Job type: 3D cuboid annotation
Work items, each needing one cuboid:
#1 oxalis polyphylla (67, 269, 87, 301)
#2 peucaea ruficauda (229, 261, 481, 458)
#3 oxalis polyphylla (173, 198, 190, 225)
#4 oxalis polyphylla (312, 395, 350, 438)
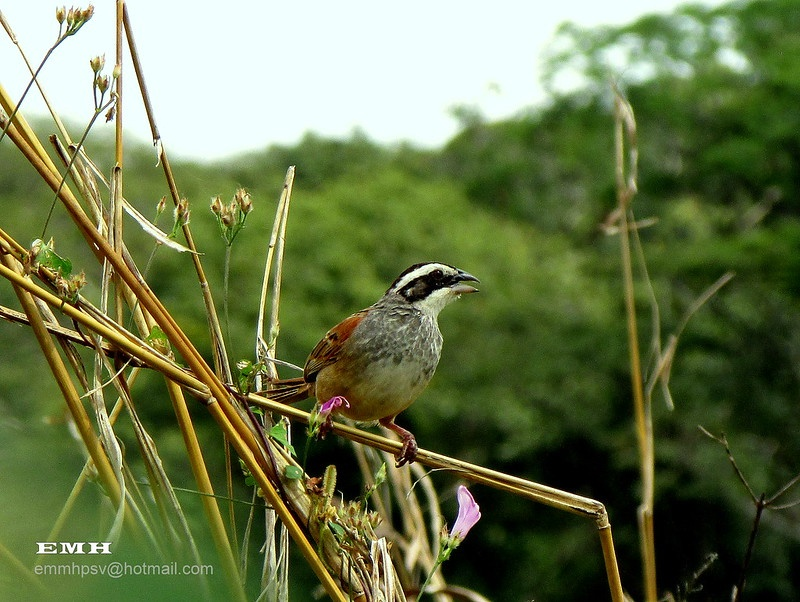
[{"bbox_3d":[-1.359,-0.059,3.967,0.106,0.104,0.045,-53,-7,27],"label":"oxalis polyphylla"},{"bbox_3d":[-0.072,0.213,5.313,0.973,1.030,0.500,6,-19,-7],"label":"peucaea ruficauda"},{"bbox_3d":[-0.966,-0.396,4.139,0.064,0.108,0.039,1,-12,-7],"label":"oxalis polyphylla"},{"bbox_3d":[-0.314,0.526,4.322,0.103,0.120,0.225,26,19,-2],"label":"oxalis polyphylla"}]
